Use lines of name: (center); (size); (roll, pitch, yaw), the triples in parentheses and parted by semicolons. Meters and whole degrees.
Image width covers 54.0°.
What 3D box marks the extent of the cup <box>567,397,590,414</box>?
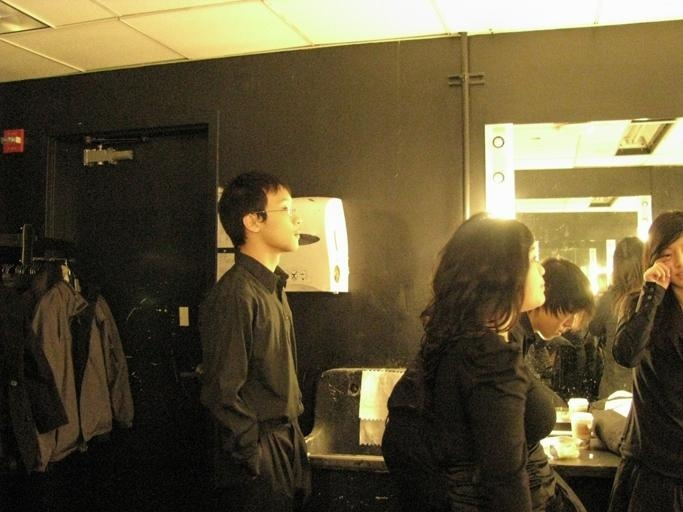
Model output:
cup: (1.194, 0.752, 3.383); (0.078, 0.055, 0.079); (-2, -10, 0)

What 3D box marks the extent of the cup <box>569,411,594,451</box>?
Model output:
cup: (1.170, 0.845, 3.242); (0.106, 0.143, 0.152); (15, -23, -17)
